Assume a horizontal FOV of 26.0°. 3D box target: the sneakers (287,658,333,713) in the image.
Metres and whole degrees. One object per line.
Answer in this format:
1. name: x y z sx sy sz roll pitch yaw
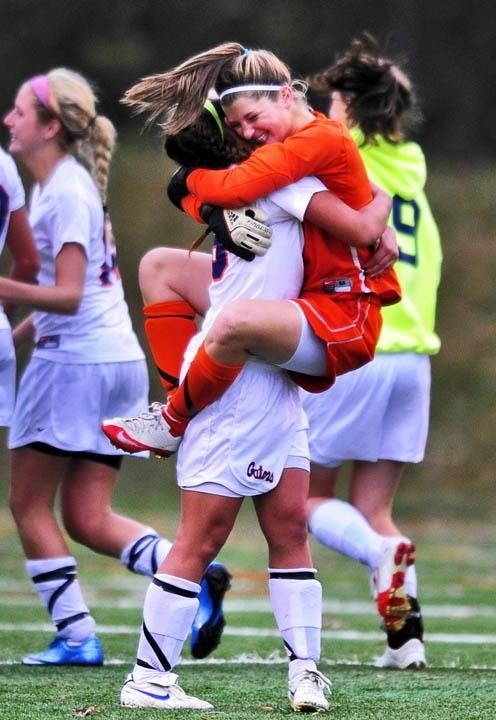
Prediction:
1. sneakers: 0.144 0.729 2.423 0.060 0.064 0.141 1 -4 -9

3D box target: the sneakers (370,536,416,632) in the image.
1. sneakers: 0.409 0.628 3.091 0.097 0.282 0.120 1 -8 -26

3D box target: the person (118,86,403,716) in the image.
1. person: -0.031 0.116 2.467 0.634 1.435 0.610 4 11 15

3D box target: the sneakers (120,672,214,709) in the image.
1. sneakers: -0.182 0.726 2.393 0.208 0.098 0.083 4 -4 -8

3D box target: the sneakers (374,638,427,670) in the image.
1. sneakers: 0.448 0.854 3.155 0.069 0.079 0.182 -1 -4 -25

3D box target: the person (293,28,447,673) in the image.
1. person: 0.359 0.018 3.470 0.498 1.906 0.594 2 -5 -42

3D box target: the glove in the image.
1. glove: -0.022 -0.292 2.414 0.126 0.084 0.174 3 18 -43

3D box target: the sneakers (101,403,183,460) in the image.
1. sneakers: -0.244 0.161 2.531 0.217 0.115 0.072 11 12 -30

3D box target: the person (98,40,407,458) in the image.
1. person: 0.032 -0.239 2.518 0.681 0.919 0.525 2 2 0

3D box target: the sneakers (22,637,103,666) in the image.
1. sneakers: -0.526 0.841 3.137 0.242 0.097 0.087 1 -11 3
